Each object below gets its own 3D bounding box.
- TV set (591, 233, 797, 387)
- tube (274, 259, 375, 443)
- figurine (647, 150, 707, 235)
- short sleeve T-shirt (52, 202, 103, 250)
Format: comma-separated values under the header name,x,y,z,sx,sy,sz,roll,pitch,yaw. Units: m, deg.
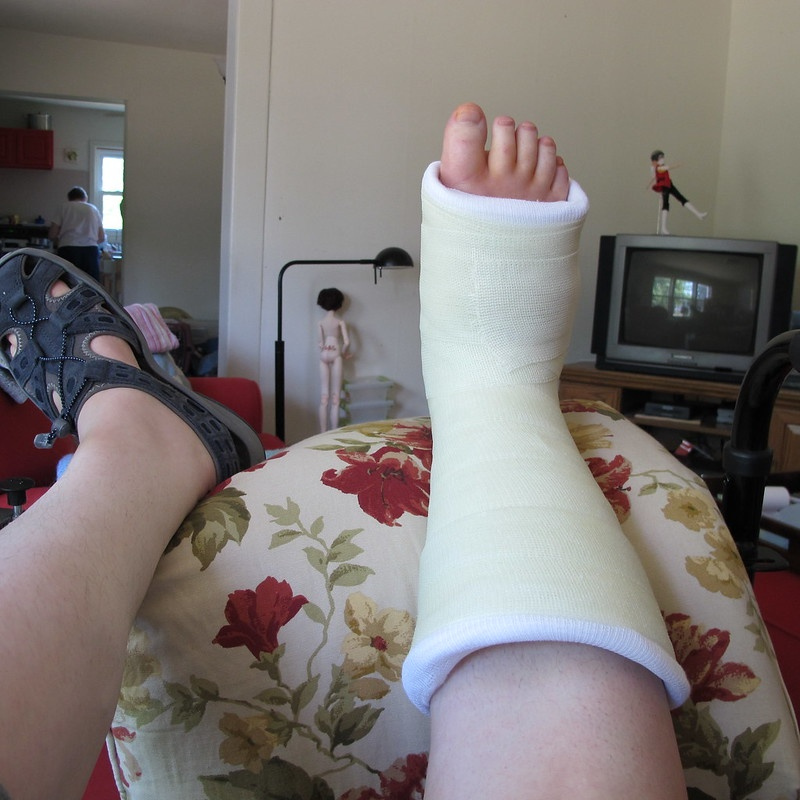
name,x,y,z,sx,sy,sz,roll,pitch,yaw
TV set,1.034,-0.335,2.434,0.875,0.579,0.445,4,18,25
tube,-0.317,-0.211,2.661,0.532,0.860,0.288,1,9,-4
figurine,1.030,-0.800,2.572,0.169,0.329,0.129,-20,-14,16
short sleeve T-shirt,-2.395,-1.272,5.012,0.356,0.396,0.206,4,11,-20
